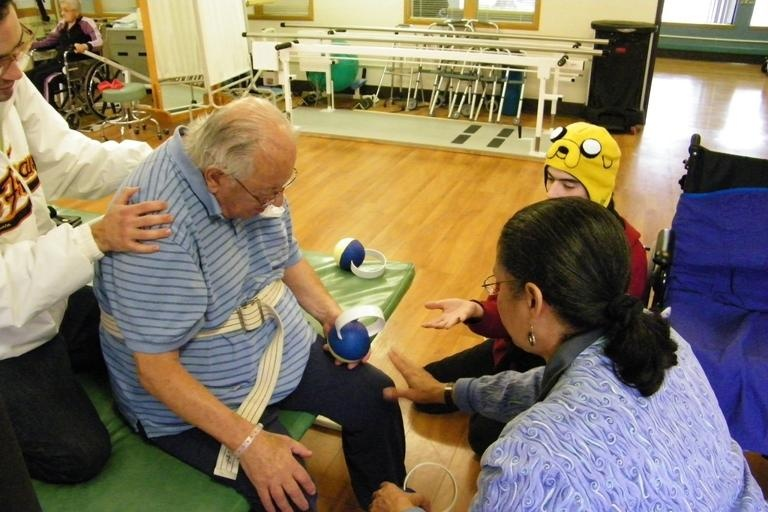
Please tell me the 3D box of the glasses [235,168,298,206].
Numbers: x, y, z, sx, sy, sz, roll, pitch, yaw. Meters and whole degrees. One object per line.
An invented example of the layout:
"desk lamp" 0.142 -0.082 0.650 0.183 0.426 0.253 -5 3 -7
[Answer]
"glasses" -0.396 -0.180 1.729 0.050 0.164 0.160 -24 17 37

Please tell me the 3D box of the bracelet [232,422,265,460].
"bracelet" -0.428 0.587 1.687 0.029 0.102 0.110 45 23 -5

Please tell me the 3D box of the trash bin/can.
"trash bin/can" 2.693 -2.046 6.038 0.720 1.193 0.608 5 23 12
